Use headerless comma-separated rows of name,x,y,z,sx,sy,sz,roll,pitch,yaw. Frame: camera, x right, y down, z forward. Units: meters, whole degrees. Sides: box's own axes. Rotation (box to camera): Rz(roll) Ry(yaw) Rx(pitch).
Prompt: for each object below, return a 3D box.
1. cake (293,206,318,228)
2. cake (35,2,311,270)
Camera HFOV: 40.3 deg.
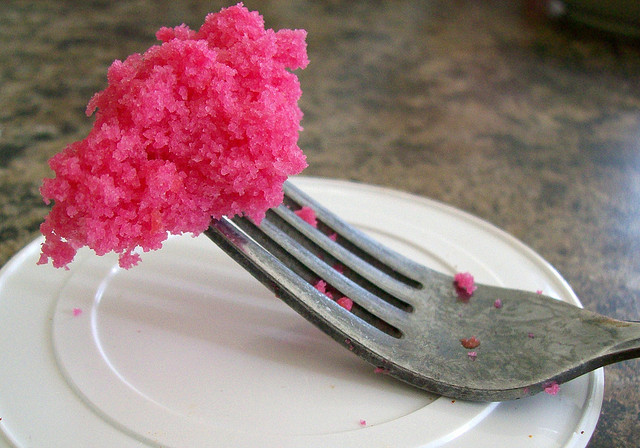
cake,-0.039,-0.011,1.926,0.043,0.017,0.048,-16,78,1
cake,-0.305,-0.195,1.778,0.628,0.158,0.452,-15,78,-8
